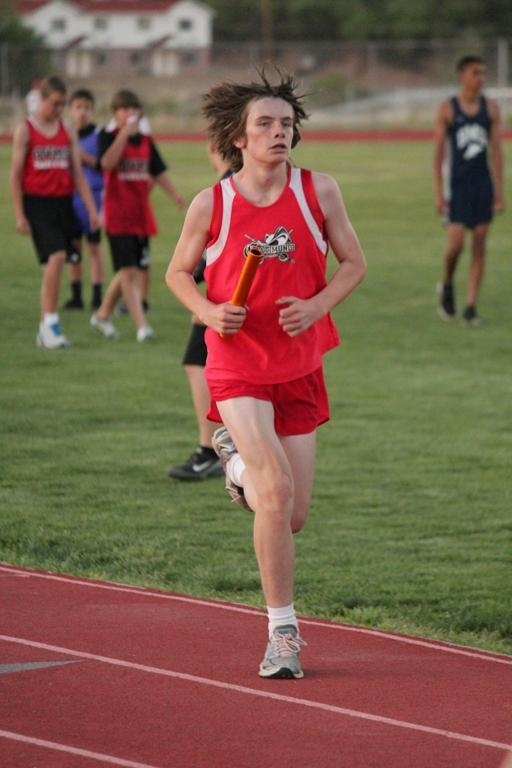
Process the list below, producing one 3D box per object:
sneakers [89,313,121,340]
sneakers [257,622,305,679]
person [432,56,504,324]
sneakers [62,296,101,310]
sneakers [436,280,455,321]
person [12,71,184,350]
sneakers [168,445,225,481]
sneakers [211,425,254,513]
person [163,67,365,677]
[{"bbox_3d":[-0.628,-0.246,4.536,0.060,0.144,0.061,-46,10,25],"label":"sneakers"},{"bbox_3d":[0.085,0.735,2.928,0.093,0.081,0.185,0,-4,0],"label":"sneakers"},{"bbox_3d":[0.862,-0.770,4.428,0.279,1.032,0.117,4,9,11],"label":"person"},{"bbox_3d":[-0.720,-0.337,4.492,0.137,0.053,0.043,7,-5,-13],"label":"sneakers"},{"bbox_3d":[0.793,-0.348,4.500,0.070,0.138,0.066,-11,2,-16],"label":"sneakers"},{"bbox_3d":[-0.785,-0.683,4.335,0.188,1.074,0.369,10,11,39],"label":"person"},{"bbox_3d":[-0.311,0.377,5.212,0.350,0.157,0.120,-5,8,-19],"label":"sneakers"},{"bbox_3d":[-0.111,0.232,3.317,0.096,0.126,0.294,-36,29,7],"label":"sneakers"},{"bbox_3d":[-0.012,-0.038,3.057,0.542,1.649,0.472,4,9,9],"label":"person"}]
